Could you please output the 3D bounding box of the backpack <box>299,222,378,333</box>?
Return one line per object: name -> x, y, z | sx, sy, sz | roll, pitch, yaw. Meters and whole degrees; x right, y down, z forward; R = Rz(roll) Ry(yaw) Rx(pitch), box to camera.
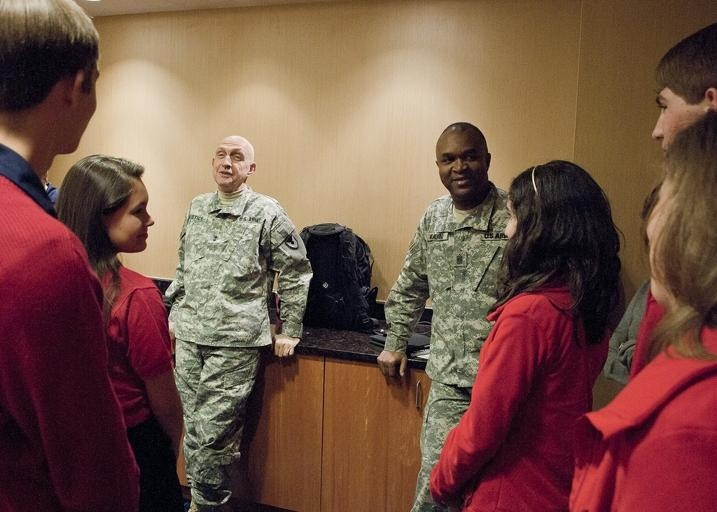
backpack -> -0.088, 0.119, 3.447 | 0.506, 0.768, 0.485 | 0, -5, 16
